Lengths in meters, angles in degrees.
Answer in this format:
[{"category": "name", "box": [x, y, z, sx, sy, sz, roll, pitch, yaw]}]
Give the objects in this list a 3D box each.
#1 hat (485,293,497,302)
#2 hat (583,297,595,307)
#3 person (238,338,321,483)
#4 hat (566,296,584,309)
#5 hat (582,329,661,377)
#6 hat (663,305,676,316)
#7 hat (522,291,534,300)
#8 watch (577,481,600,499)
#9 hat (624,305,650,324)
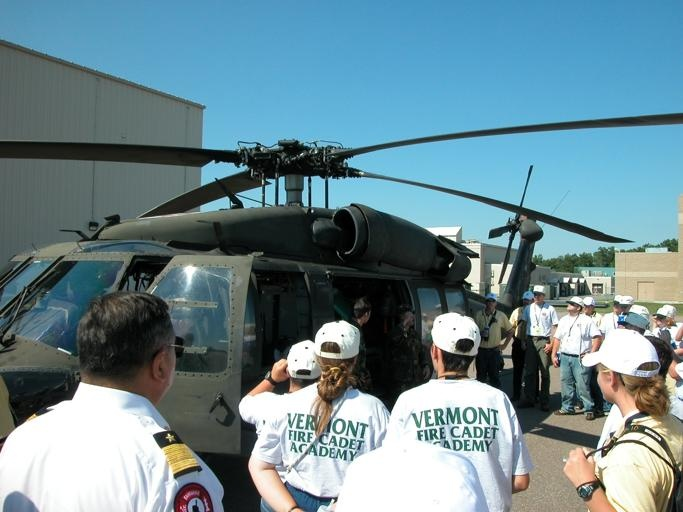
[{"category": "hat", "box": [2.149, 0.648, 8.933, 0.136, 0.115, 0.215, 4, -10, 10]}, {"category": "hat", "box": [3.736, 0.730, 9.218, 0.164, 0.117, 0.240, 0, -5, 32]}, {"category": "person", "box": [-0.317, 0.997, 4.262, 0.433, 0.841, 0.541, 25, -16, -25]}, {"category": "hat", "box": [3.313, 0.695, 8.591, 0.242, 0.112, 0.166, 21, -6, -17]}, {"category": "hat", "box": [1.740, 0.610, 3.759, 0.327, 0.183, 0.248, 15, 7, 43]}, {"category": "hat", "box": [4.333, 0.751, 8.031, 0.257, 0.079, 0.157, 9, -1, -31]}, {"category": "hat", "box": [2.925, 0.678, 9.595, 0.195, 0.103, 0.302, 0, 2, 23]}, {"category": "watch", "box": [1.362, 1.233, 3.359, 0.074, 0.076, 0.047, 21, 23, -21]}, {"category": "hat", "box": [3.609, 0.744, 7.498, 0.189, 0.268, 0.273, -9, -49, 48]}]
